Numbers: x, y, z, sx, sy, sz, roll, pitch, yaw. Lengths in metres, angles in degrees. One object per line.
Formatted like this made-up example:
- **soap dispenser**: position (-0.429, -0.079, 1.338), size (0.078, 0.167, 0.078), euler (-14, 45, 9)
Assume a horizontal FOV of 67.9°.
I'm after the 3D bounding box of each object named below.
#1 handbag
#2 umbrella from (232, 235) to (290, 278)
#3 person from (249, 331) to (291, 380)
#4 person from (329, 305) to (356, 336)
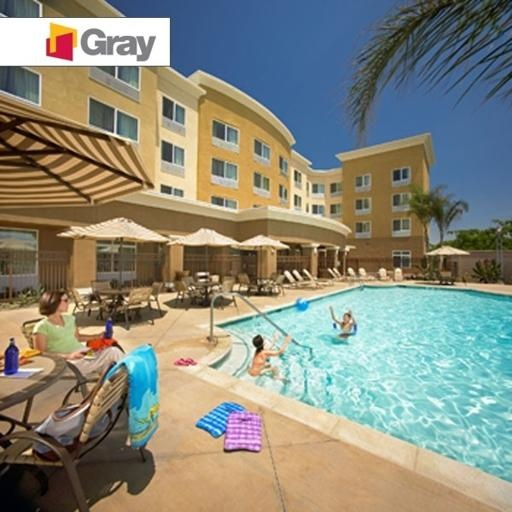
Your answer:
- **handbag**: position (-1.628, 1.441, 3.266), size (0.218, 0.622, 0.384), euler (24, -27, 1)
- **umbrella**: position (0.675, -0.169, 19.673), size (2.355, 2.120, 2.420), euler (-1, -1, 23)
- **person**: position (0.202, 1.812, 6.639), size (0.722, 0.926, 0.469), euler (-8, 12, -27)
- **person**: position (2.425, 1.815, 10.858), size (0.771, 1.295, 0.380), euler (-3, -9, 18)
